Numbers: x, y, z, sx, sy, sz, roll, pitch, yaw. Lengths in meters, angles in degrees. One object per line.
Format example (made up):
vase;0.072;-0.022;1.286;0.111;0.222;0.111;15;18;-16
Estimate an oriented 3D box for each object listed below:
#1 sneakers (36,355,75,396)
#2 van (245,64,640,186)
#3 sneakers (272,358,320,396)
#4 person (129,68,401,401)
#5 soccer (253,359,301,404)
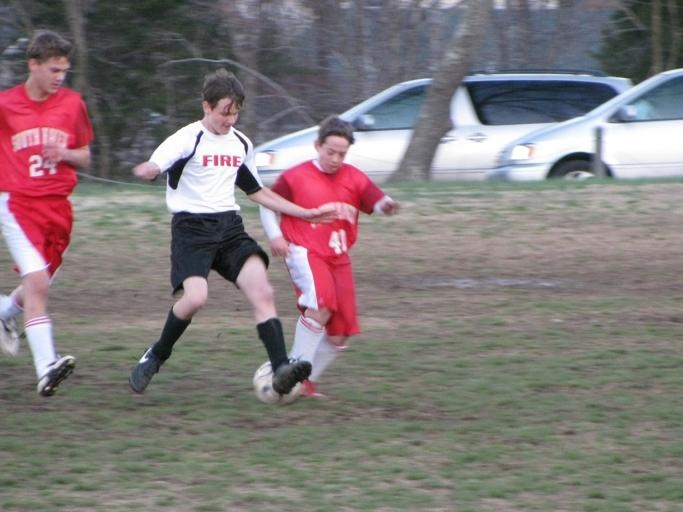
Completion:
sneakers;-1.820;0.757;6.497;0.236;0.306;0.174;-7;25;-26
van;1.503;-1.780;13.800;5.449;1.116;1.738;0;2;-1
sneakers;-0.334;0.765;6.485;0.224;0.313;0.220;-2;22;-16
person;-0.702;-0.129;6.637;1.196;2.091;1.049;5;22;1
soccer;-0.445;0.818;6.708;0.350;0.256;0.145;-14;5;-5
